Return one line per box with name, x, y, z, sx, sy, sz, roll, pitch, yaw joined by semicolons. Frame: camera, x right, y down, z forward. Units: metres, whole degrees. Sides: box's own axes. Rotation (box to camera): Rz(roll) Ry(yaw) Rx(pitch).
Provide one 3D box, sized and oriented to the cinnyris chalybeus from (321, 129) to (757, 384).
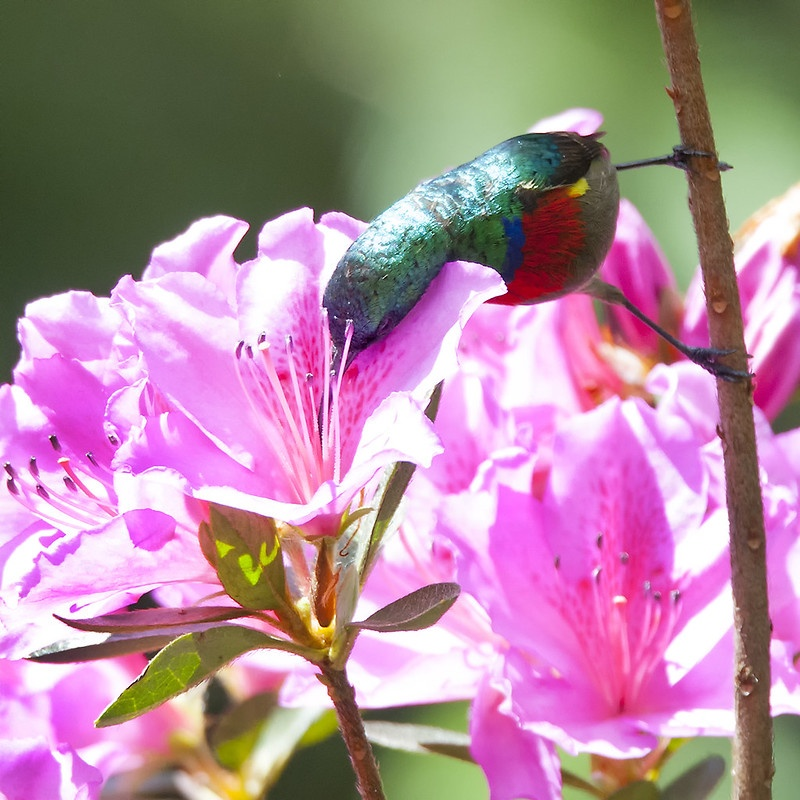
cinnyris chalybeus;0.054;-0.067;0.420;0.079;0.065;0.157;22;65;39
